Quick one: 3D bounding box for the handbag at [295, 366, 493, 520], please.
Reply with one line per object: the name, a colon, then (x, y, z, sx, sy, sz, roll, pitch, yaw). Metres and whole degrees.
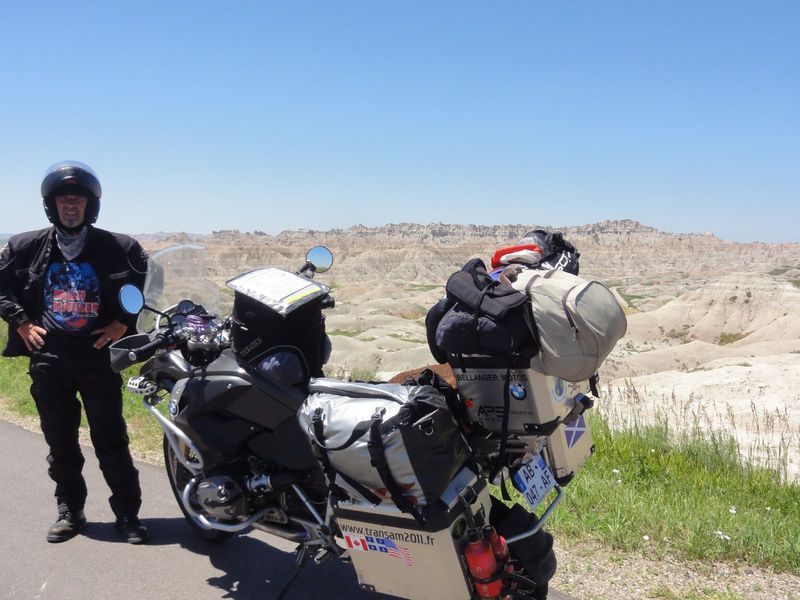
handbag: (-0.145, 0.927, 4.025, 1.099, 0.717, 0.734, -9, 10, 46)
